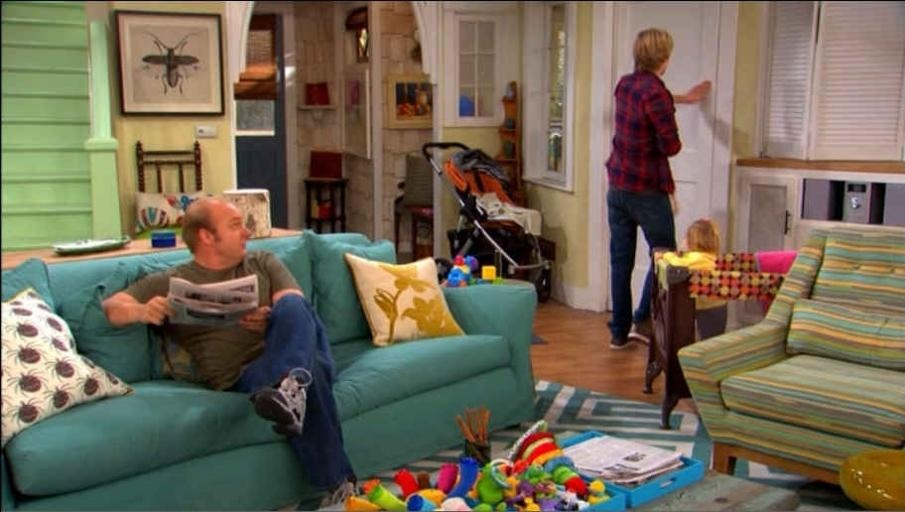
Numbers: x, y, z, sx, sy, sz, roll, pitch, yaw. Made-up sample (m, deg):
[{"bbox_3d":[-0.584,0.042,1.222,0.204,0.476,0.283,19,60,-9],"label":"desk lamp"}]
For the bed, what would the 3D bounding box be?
[{"bbox_3d":[1.962,0.587,4.620,1.120,1.069,1.284,1,1,10],"label":"bed"}]

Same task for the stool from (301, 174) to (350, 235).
[{"bbox_3d":[-1.748,-0.632,9.101,0.673,0.831,0.637,-9,14,-31],"label":"stool"}]

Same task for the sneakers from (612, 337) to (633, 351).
[{"bbox_3d":[1.368,0.722,5.406,0.226,0.085,0.080,-6,10,-36],"label":"sneakers"}]

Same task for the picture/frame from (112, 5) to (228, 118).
[{"bbox_3d":[-2.442,-1.675,5.677,1.031,0.887,0.047,4,10,11],"label":"picture/frame"}]

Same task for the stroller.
[{"bbox_3d":[0.386,-0.392,6.643,1.388,1.282,0.821,20,26,31],"label":"stroller"}]

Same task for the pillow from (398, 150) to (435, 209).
[{"bbox_3d":[-0.351,-0.895,7.879,0.160,0.507,0.586,-13,17,-42],"label":"pillow"}]

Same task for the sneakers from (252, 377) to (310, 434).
[{"bbox_3d":[-0.845,0.724,3.219,0.215,0.305,0.181,31,46,10],"label":"sneakers"}]

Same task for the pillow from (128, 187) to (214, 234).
[{"bbox_3d":[-2.526,-0.401,5.937,0.633,0.361,0.183,-6,12,-38],"label":"pillow"}]

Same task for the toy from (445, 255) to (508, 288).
[{"bbox_3d":[0.130,0.106,4.444,0.342,0.126,0.231,0,3,-6],"label":"toy"}]
